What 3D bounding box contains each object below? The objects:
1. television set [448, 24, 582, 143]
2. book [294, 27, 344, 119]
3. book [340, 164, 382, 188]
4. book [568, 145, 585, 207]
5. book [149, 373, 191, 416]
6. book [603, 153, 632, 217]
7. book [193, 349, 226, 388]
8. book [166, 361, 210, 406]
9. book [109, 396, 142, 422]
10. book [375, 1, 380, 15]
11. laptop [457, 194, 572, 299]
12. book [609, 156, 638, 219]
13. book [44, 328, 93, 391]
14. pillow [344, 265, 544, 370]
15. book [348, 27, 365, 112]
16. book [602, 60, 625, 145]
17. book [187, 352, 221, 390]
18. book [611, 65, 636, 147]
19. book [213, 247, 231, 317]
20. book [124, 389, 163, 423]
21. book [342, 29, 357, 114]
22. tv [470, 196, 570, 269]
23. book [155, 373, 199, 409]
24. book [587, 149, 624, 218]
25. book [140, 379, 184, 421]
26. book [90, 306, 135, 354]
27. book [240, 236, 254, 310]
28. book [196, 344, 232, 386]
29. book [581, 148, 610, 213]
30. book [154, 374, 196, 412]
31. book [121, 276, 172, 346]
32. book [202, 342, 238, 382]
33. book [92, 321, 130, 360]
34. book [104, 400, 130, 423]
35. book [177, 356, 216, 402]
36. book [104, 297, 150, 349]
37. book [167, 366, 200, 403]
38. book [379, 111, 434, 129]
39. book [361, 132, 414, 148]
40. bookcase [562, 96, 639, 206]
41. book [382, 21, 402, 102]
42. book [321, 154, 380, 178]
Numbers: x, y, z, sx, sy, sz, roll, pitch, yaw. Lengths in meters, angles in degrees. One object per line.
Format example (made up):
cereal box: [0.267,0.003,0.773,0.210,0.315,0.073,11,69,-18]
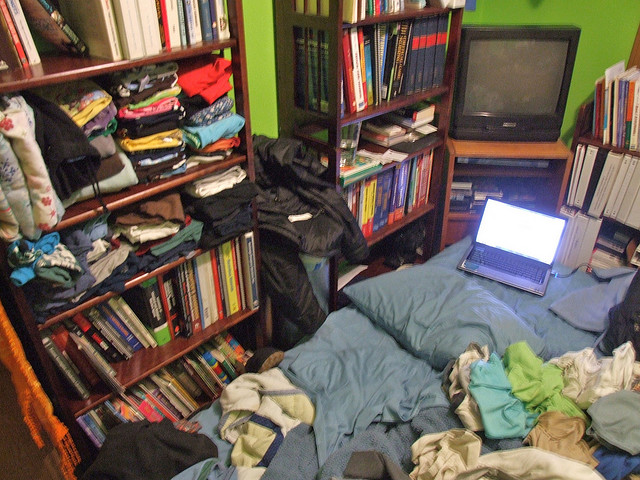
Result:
television set: [1.205,-1.002,3.073,0.669,0.684,0.401,4,36,14]
book: [-0.036,-0.840,2.471,0.084,0.387,0.382,-11,40,-16]
book: [0.221,-0.353,2.675,0.139,0.030,0.150,0,34,34]
book: [1.569,-0.404,2.989,0.031,0.331,0.252,16,33,23]
book: [-0.715,0.758,2.403,0.053,0.202,0.200,-43,82,-7]
book: [1.734,-0.319,2.854,0.053,0.237,0.247,15,8,18]
book: [-0.563,0.670,2.492,0.014,0.280,0.055,-39,25,-11]
book: [-0.676,0.727,2.505,0.052,0.217,0.213,-46,54,-3]
book: [-0.871,0.754,2.201,0.115,0.118,0.035,41,74,21]
book: [0.288,-1.159,2.441,0.011,0.049,0.047,10,34,21]
laptop: [1.110,0.027,2.875,0.475,0.293,0.401,23,41,36]
book: [1.760,-0.312,2.831,0.052,0.240,0.229,18,15,26]
book: [-1.018,0.472,1.969,0.042,0.328,0.043,-33,15,-8]
pillow: [0.598,0.367,2.525,0.524,0.193,0.619,-6,34,-36]
book: [0.186,-0.863,2.490,0.059,0.272,0.270,-14,55,3]
book: [1.670,-0.760,2.783,0.042,0.398,0.340,9,33,32]
book: [-0.571,0.640,2.490,0.037,0.156,0.157,-42,85,-10]
book: [1.708,-0.739,2.749,0.043,0.336,0.314,10,37,27]
book: [-0.477,0.186,2.359,0.033,0.296,0.220,-13,33,-13]
book: [-0.823,0.767,2.292,0.034,0.156,0.148,-17,-6,32]
book: [0.159,-0.885,2.561,0.065,0.310,0.305,-8,73,8]
tv: [1.206,-0.045,2.941,0.537,0.348,0.408,24,29,15]
book: [-0.710,0.733,2.427,0.041,0.169,0.165,-48,46,-7]
book: [1.686,-0.321,2.902,0.063,0.287,0.277,18,31,22]
book: [-0.763,0.770,2.383,0.045,0.191,0.188,-51,43,-8]
book: [-0.905,0.383,2.104,0.032,0.290,0.031,-39,20,-12]
book: [-0.361,0.146,2.406,0.034,0.312,0.220,-12,33,-13]
book: [-0.517,0.633,2.527,0.053,0.203,0.197,-37,60,-12]
book: [1.617,-0.386,2.976,0.062,0.270,0.285,14,28,13]
book: [-0.689,0.748,2.404,0.171,0.174,0.042,40,83,12]
book: [-0.779,0.325,2.201,0.059,0.259,0.252,-30,56,-14]
book: [-0.495,0.630,2.539,0.051,0.195,0.193,-39,65,-12]
book: [-0.888,0.442,2.130,0.043,0.260,0.035,-40,23,-14]
book: [-0.905,0.760,2.160,0.019,0.144,0.028,-18,21,43]
book: [-0.624,0.709,2.501,0.055,0.232,0.223,-37,16,-13]
book: [-0.852,0.357,2.154,0.043,0.180,0.178,-43,32,-7]
book: [-0.674,0.728,2.493,0.041,0.178,0.176,-42,76,-7]
book: [0.510,-0.733,2.974,0.176,0.044,0.180,28,35,27]
book: [0.418,-0.597,2.926,0.139,0.034,0.138,-22,40,-40]
bookcase: [1.699,-0.582,2.915,0.349,0.678,0.336,19,45,24]
book: [0.399,-0.978,2.771,0.110,0.273,0.293,-4,32,2]
book: [0.217,-0.410,2.701,0.189,0.027,0.177,-29,47,-35]
